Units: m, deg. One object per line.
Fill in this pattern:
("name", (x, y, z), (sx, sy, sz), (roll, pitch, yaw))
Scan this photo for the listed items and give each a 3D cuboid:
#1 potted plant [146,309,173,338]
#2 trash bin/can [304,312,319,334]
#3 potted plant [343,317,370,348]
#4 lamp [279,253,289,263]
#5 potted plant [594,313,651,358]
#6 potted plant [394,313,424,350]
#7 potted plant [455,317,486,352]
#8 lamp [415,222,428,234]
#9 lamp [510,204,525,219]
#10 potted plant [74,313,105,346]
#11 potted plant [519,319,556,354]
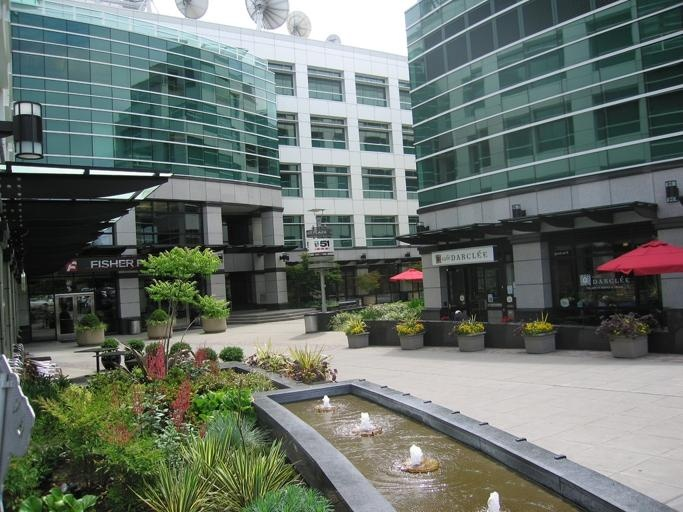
("potted plant", (-10.221, 3.821, 31.373), (0.957, 1.655, 1.732), (-3, -3, -29))
("trash bin/can", (-1.570, 3.409, 28.759), (0.726, 0.937, 0.673), (-5, -3, 1))
("potted plant", (0.673, 3.150, 22.886), (1.434, 1.085, 1.005), (-2, -7, 9))
("lamp", (-4.421, 0.095, 43.505), (0.748, 0.663, 0.869), (7, -7, 8))
("potted plant", (8.055, 2.252, 16.126), (1.134, 1.066, 1.014), (-5, -3, 18))
("potted plant", (2.380, 2.923, 21.366), (1.267, 1.004, 1.122), (-5, -7, 33))
("potted plant", (4.443, 2.725, 19.810), (1.076, 1.055, 1.307), (-3, -2, 40))
("lamp", (4.046, -1.492, 28.661), (0.663, 0.677, 2.198), (-5, -3, 9))
("lamp", (7.352, -1.931, 23.594), (0.538, 0.463, 0.629), (-5, -3, 16))
("potted plant", (-13.480, 3.912, 30.652), (1.718, 1.363, 1.570), (-2, 0, -35))
("potted plant", (6.412, 2.574, 18.073), (1.134, 0.902, 1.102), (-2, -1, 36))
